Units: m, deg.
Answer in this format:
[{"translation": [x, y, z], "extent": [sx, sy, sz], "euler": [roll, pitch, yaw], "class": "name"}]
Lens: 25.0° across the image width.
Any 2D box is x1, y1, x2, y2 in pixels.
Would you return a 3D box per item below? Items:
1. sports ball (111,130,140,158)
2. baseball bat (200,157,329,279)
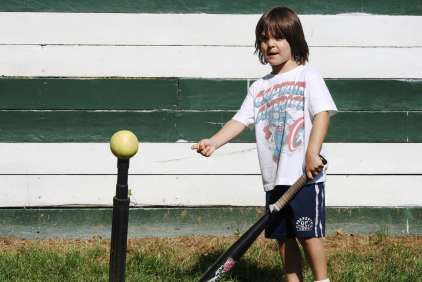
[{"translation": [-0.776, 0.013, 8.699], "extent": [0.230, 0.225, 0.234], "euler": [-14, 5, 1], "class": "sports ball"}, {"translation": [0.516, 0.773, 9.278], "extent": [0.191, 1.437, 0.148], "euler": [44, -3, -29], "class": "baseball bat"}]
